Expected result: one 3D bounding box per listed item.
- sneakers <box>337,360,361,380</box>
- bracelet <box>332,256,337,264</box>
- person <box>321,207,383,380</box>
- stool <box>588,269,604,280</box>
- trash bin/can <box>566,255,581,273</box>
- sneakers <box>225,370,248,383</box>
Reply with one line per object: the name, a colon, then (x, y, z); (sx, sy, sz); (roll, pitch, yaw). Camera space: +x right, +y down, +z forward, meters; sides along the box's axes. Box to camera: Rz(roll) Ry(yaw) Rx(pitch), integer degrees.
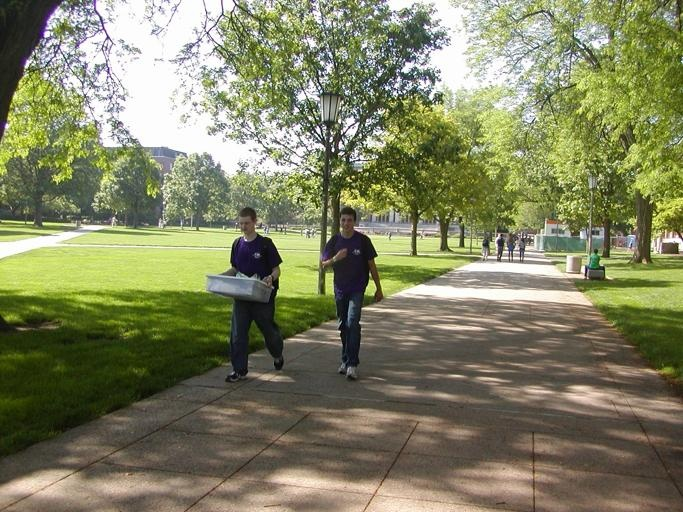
sneakers: (0.107, 1.630, 8.023); (0.125, 0.181, 0.397); (4, -13, -21)
bracelet: (-0.104, 0.054, 7.843); (0.016, 0.071, 0.069); (-3, 18, -20)
person: (0.143, 0.450, 8.379); (0.872, 2.398, 1.336); (1, 3, 3)
stool: (10.807, 0.738, 23.967); (0.469, 0.306, 0.486); (1, 0, 12)
trash bin/can: (11.623, 0.375, 28.143); (0.599, 0.838, 0.882); (2, 4, 9)
sneakers: (-1.430, 1.608, 7.673); (0.117, 0.134, 0.309); (-5, -13, 36)
